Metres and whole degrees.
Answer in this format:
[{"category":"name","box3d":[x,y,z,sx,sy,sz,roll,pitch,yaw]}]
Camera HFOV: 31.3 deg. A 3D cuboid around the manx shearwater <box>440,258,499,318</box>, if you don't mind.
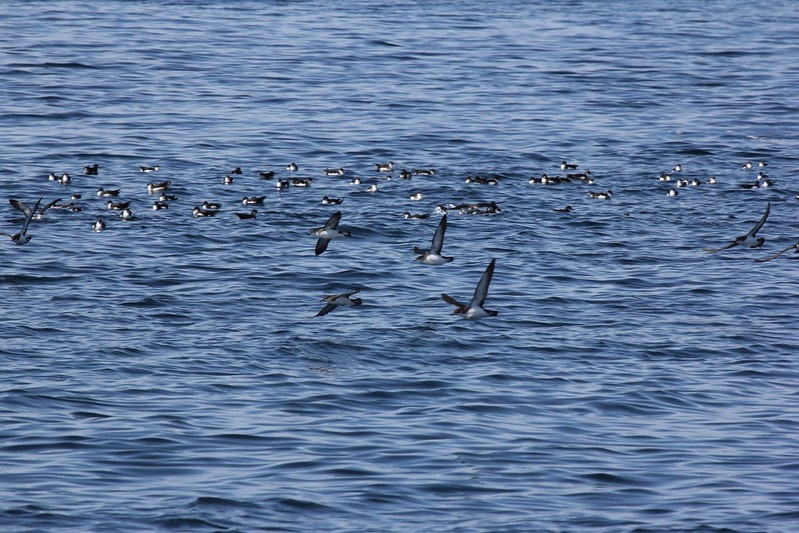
[{"category":"manx shearwater","box3d":[2.439,1.218,47.904,1.440,9.404,1.497,12,78,2]}]
